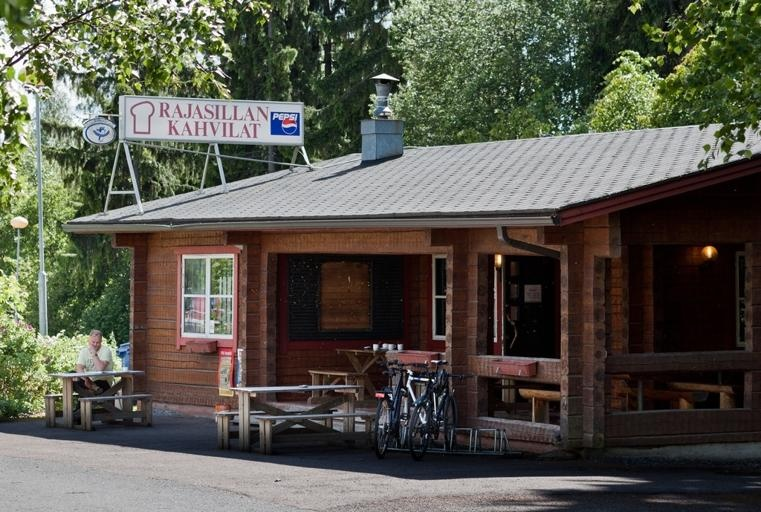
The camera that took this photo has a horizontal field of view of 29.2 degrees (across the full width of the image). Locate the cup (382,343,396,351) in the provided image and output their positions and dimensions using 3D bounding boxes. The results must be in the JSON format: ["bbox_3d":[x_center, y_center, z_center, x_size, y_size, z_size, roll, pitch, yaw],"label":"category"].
[{"bbox_3d":[0.169,1.906,30.695,0.147,0.139,0.196,-3,-8,23],"label":"cup"}]

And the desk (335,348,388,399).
[{"bbox_3d":[-0.486,2.439,30.680,1.005,0.956,1.024,1,1,25],"label":"desk"}]

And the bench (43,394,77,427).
[{"bbox_3d":[-6.368,3.159,29.294,0.580,0.661,1.086,-1,-1,-3],"label":"bench"}]

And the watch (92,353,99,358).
[{"bbox_3d":[-5.773,2.011,29.621,0.091,0.086,0.091,1,1,-13],"label":"watch"}]

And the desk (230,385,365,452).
[{"bbox_3d":[-1.731,2.967,27.124,1.740,0.840,1.463,2,-2,-34],"label":"desk"}]

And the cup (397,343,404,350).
[{"bbox_3d":[0.412,1.896,30.461,0.113,0.085,0.112,2,-3,0],"label":"cup"}]

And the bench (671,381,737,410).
[{"bbox_3d":[6.216,2.690,28.357,1.197,0.363,1.862,-3,-2,10],"label":"bench"}]

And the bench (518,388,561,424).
[{"bbox_3d":[2.945,2.812,27.450,0.617,0.816,0.880,-10,-9,39],"label":"bench"}]

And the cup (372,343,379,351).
[{"bbox_3d":[-0.096,1.913,30.525,0.106,0.119,0.122,1,1,-3],"label":"cup"}]
